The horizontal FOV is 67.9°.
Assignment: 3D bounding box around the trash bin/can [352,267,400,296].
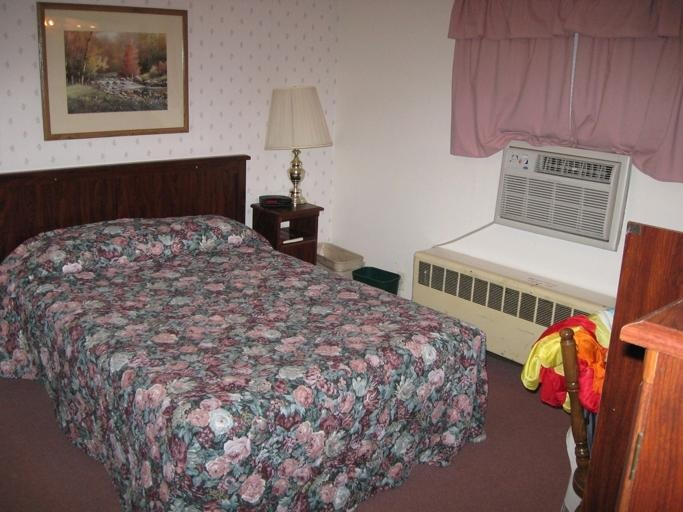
[{"bbox_3d":[0.305,0.201,4.531,0.236,0.234,0.350,-11,19,-41],"label":"trash bin/can"}]
